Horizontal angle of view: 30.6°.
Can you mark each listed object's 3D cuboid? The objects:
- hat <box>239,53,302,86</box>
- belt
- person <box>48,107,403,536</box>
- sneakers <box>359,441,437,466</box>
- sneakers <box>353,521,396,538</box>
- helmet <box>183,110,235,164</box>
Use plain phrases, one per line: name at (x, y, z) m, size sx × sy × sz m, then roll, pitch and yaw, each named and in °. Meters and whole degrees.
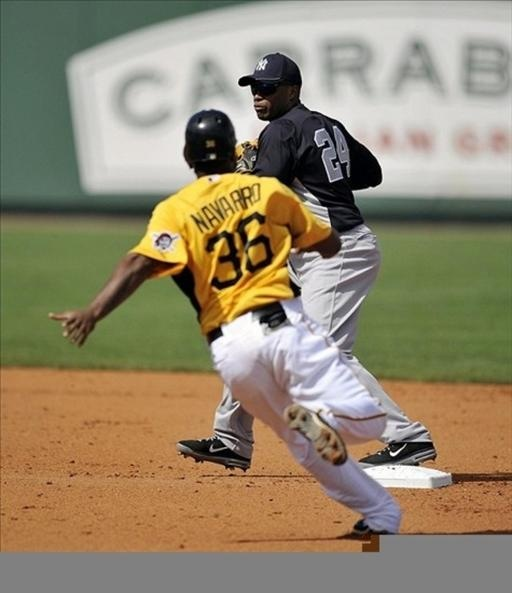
hat at (0.066, -1.129, 4.758) m, size 0.298 × 0.127 × 0.168 m, roll 6°, pitch 6°, yaw -14°
belt at (-0.040, 0.103, 3.738) m, size 0.240 × 0.099 × 0.164 m, roll -24°, pitch 6°, yaw 6°
person at (-0.022, 0.252, 3.773) m, size 1.252 × 1.474 × 0.354 m, roll 1°, pitch 8°, yaw -2°
sneakers at (0.745, 0.802, 4.816) m, size 0.440 × 0.187 × 0.132 m, roll 0°, pitch -5°, yaw 5°
sneakers at (0.509, 1.000, 4.013) m, size 0.141 × 0.043 × 0.093 m, roll 1°, pitch -8°, yaw 3°
helmet at (-0.188, -0.630, 3.756) m, size 0.209 × 0.204 × 0.233 m, roll -1°, pitch 19°, yaw 0°
